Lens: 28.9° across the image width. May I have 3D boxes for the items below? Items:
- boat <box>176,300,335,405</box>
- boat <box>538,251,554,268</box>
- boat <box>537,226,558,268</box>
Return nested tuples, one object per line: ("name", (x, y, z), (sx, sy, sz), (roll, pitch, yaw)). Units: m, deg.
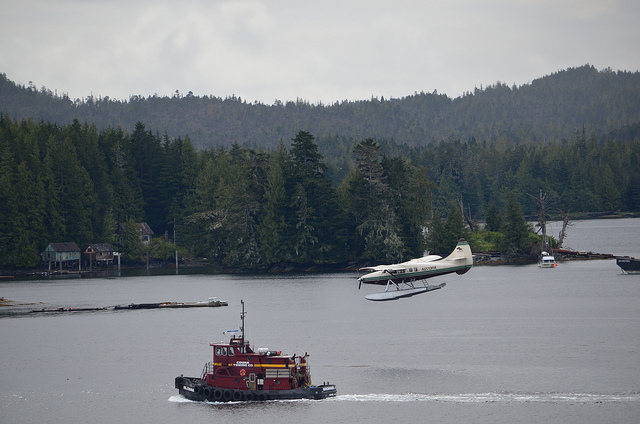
("boat", (-11.033, 24.608, 207.748), (28.010, 13.530, 12.078), (-1, -4, 18))
("boat", (50.926, 10.630, 279.818), (3.168, 3.194, 4.884), (0, 10, 8))
("boat", (51.684, 8.455, 282.463), (7.867, 6.476, 2.621), (17, -20, -36))
